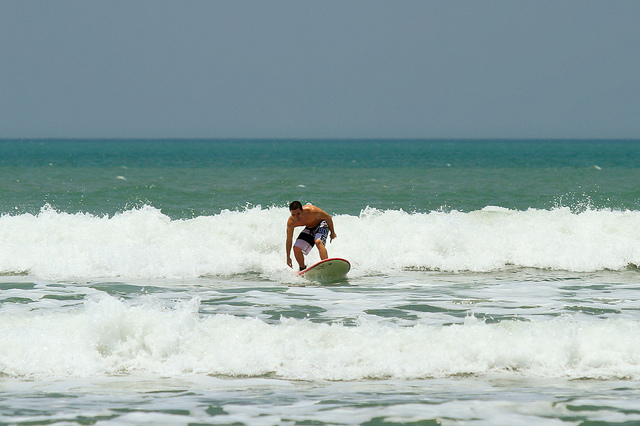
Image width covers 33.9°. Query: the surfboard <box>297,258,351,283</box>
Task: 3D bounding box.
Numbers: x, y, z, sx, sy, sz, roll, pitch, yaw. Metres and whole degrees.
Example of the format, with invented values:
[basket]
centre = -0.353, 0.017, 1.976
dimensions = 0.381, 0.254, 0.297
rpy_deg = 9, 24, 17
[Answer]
[surfboard]
centre = 0.124, 1.365, 25.418
dimensions = 1.200, 0.557, 0.540
rpy_deg = 0, 1, -1
